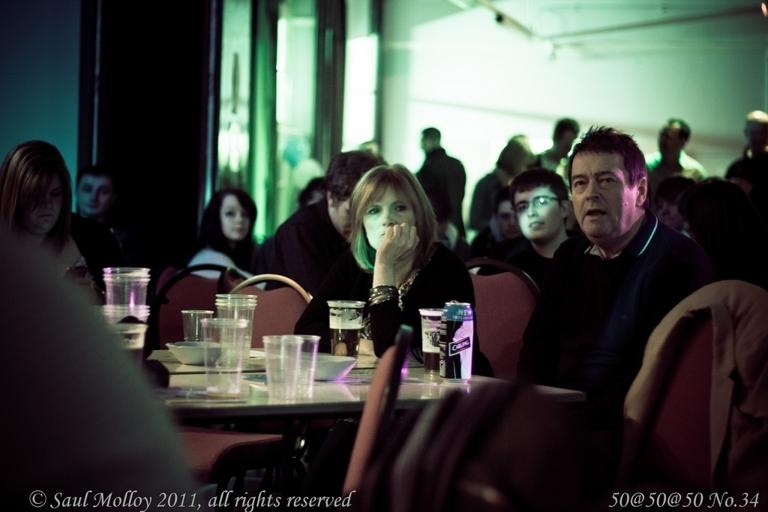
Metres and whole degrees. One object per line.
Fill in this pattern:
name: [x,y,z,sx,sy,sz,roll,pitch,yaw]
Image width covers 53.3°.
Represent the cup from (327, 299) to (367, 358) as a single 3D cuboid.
cup: [-0.126,0.240,2.607,0.183,0.229,0.170,1,-5,0]
